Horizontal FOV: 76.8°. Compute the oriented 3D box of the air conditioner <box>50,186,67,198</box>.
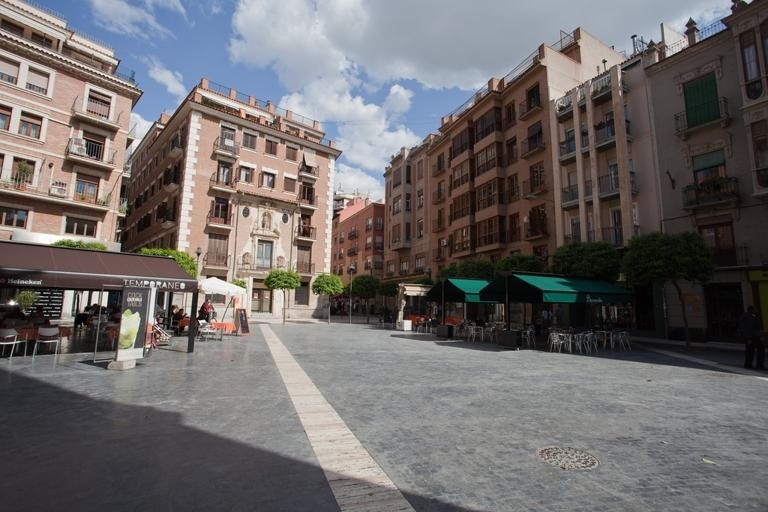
[{"bbox_3d":[-21.867,-4.350,32.568,1.051,0.789,0.535,-9,16,-41],"label":"air conditioner"}]

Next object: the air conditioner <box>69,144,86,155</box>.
[{"bbox_3d":[-21.167,-7.356,33.398,1.019,0.795,0.848,-7,14,-34],"label":"air conditioner"}]

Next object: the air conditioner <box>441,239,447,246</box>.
[{"bbox_3d":[5.580,-1.213,45.178,0.505,0.682,0.702,3,-10,-8],"label":"air conditioner"}]
